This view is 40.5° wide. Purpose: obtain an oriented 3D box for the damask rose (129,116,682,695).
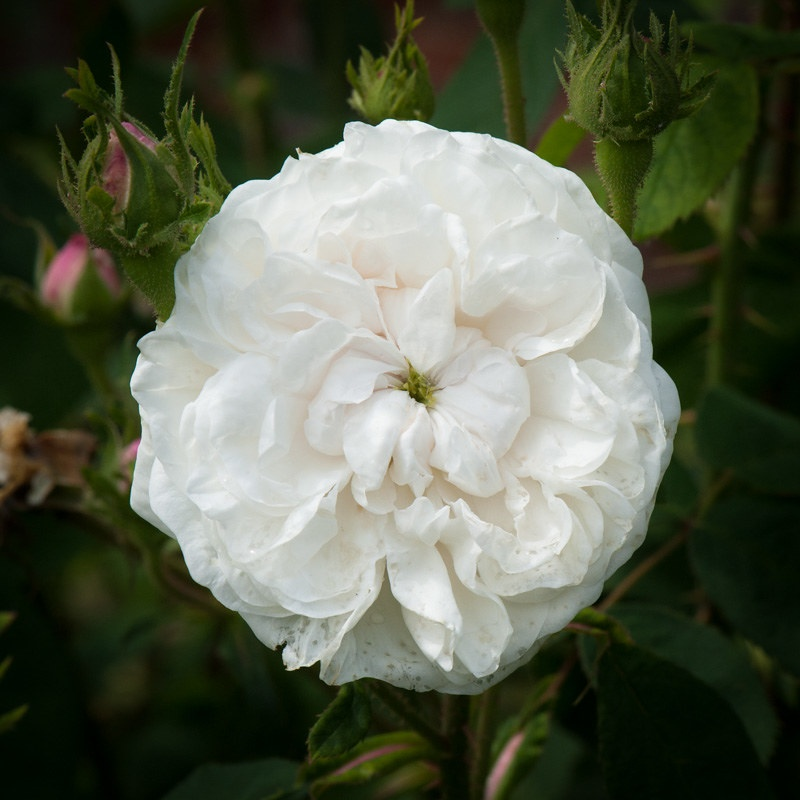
[{"bbox_3d":[-0.003,0.004,0.696,0.335,0.166,0.323,-7,97,-1],"label":"damask rose"}]
